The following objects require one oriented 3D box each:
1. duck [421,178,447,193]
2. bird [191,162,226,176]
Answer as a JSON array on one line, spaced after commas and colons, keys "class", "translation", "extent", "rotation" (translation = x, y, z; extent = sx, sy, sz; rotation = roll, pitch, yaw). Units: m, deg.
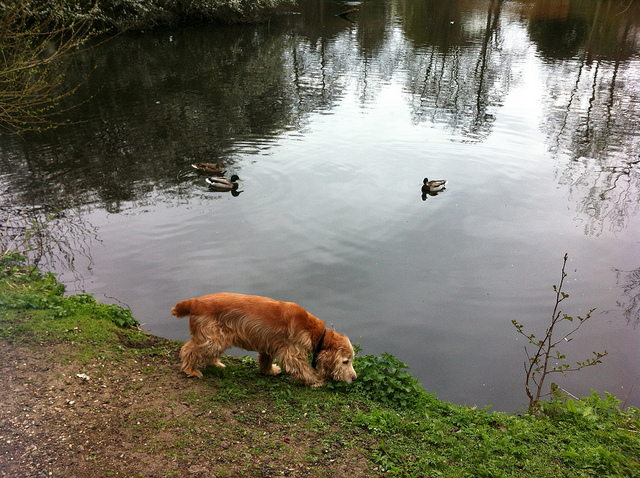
[{"class": "duck", "translation": [3.784, -1.754, 20.145], "extent": [0.722, 0.363, 0.530], "rotation": [-7, -13, 5]}, {"class": "bird", "translation": [-3.902, -2.519, 21.312], "extent": [0.987, 0.547, 0.430], "rotation": [-4, -2, 16]}]
